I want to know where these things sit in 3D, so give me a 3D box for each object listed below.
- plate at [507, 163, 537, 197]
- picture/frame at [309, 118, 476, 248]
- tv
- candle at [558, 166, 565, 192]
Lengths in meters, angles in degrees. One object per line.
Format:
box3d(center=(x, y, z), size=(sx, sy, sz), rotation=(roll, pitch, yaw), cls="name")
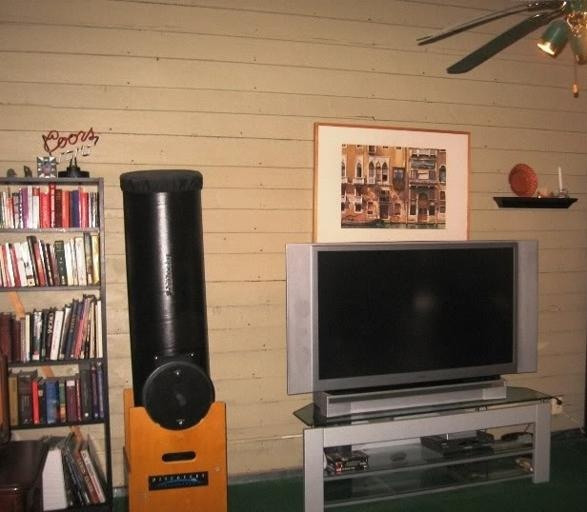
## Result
box3d(center=(1.485, -0.487, 4.174), size=(0.217, 0.194, 0.049), rotation=(-7, -1, 0), cls="plate")
box3d(center=(0.565, -0.450, 3.978), size=(0.931, 0.561, 0.021), rotation=(0, 3, -14), cls="picture/frame")
box3d(center=(0.663, 0.412, 3.708), size=(1.185, 0.630, 0.214), rotation=(-1, 4, -12), cls="tv")
box3d(center=(1.783, -0.508, 4.297), size=(0.032, 0.171, 0.182), rotation=(0, 4, 23), cls="candle")
